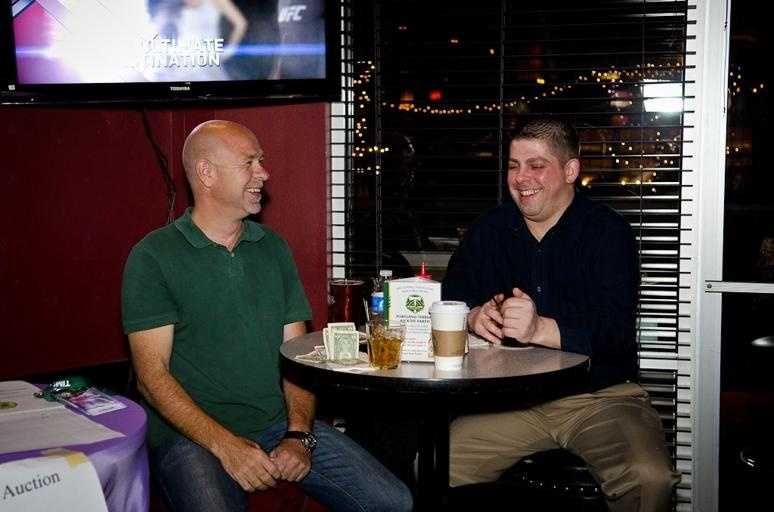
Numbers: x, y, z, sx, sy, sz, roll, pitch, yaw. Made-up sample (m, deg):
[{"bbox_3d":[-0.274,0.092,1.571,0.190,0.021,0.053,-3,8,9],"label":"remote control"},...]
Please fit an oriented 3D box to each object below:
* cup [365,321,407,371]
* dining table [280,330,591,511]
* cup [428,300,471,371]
[{"bbox_3d":[-0.006,0.333,2.330,0.153,0.165,0.157,2,-4,0],"label":"cup"},{"bbox_3d":[0.185,0.406,2.567,0.903,0.604,0.858,-1,8,-7],"label":"dining table"},{"bbox_3d":[0.230,0.285,2.346,0.134,0.238,0.177,-2,9,3],"label":"cup"}]
